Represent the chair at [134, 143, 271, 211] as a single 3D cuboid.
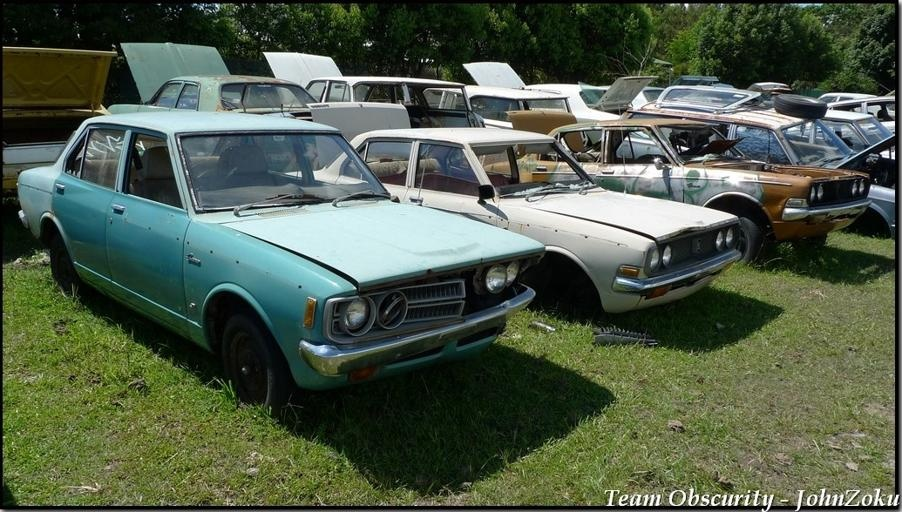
[{"bbox_3d":[-2.770,-0.980,6.110,1.101,0.472,1.092,20,24,38],"label":"chair"}]
